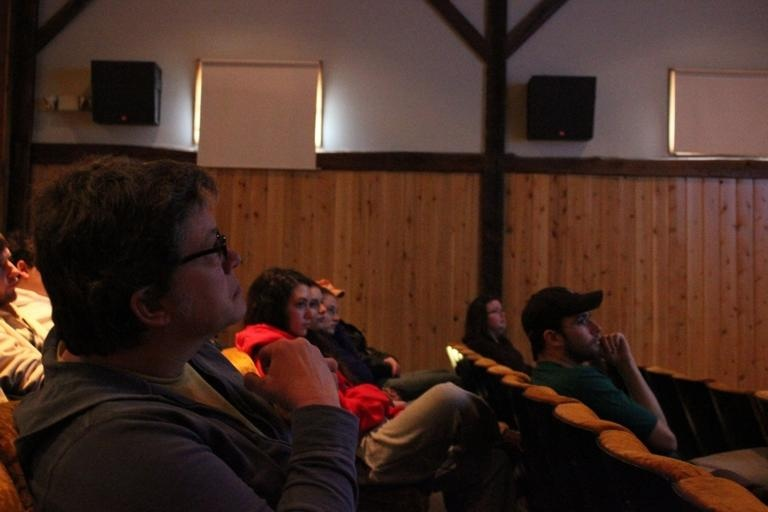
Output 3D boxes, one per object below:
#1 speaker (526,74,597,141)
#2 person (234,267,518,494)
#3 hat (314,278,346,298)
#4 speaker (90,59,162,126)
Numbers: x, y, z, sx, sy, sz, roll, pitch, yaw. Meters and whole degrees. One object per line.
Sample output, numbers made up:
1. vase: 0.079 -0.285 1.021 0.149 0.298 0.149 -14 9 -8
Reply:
1. speaker: 1.636 -1.381 6.078 0.532 0.579 0.290 0 1 -1
2. person: -0.053 0.827 4.239 1.567 1.314 0.927 -3 -13 -1
3. hat: -0.453 0.240 5.226 0.272 0.089 0.174 29 -7 22
4. speaker: -2.378 -1.493 5.967 0.584 0.538 0.138 1 3 6
